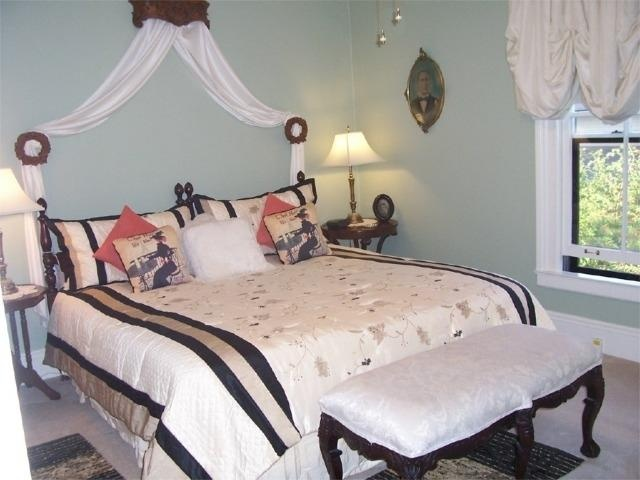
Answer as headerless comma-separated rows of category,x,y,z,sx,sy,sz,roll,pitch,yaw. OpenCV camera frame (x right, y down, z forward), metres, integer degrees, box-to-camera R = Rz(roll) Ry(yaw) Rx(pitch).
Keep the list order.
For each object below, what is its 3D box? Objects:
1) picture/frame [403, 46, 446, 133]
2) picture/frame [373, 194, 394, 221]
picture/frame,0.949,-1.354,4.585,0.080,0.741,0.446,-16,14,-35
picture/frame,0.629,-0.316,4.944,0.042,0.275,0.258,-11,9,-33
